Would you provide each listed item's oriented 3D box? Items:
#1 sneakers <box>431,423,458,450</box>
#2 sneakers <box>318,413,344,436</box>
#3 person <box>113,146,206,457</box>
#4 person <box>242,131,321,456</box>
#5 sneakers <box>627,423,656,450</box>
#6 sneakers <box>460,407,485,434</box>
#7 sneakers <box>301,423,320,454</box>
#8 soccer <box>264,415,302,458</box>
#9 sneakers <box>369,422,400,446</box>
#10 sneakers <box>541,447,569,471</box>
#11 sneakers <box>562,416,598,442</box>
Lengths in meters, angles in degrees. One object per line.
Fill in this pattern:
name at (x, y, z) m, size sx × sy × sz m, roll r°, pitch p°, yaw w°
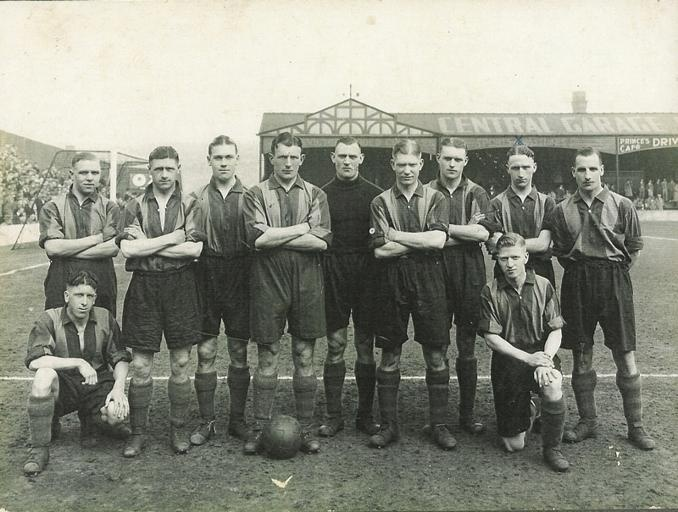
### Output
sneakers at (0.757, 1.313, 5.954) m, size 0.099 × 0.097 × 0.246 m, roll -4°, pitch 0°, yaw -25°
sneakers at (-0.052, 1.282, 6.126) m, size 0.085 × 0.166 × 0.251 m, roll -21°, pitch -26°, yaw 35°
person at (-1.288, 0.301, 5.939) m, size 0.629 × 2.212 × 0.432 m, roll -3°, pitch 4°, yaw -11°
person at (-0.378, 0.210, 5.961) m, size 0.664 × 2.217 × 0.364 m, roll -2°, pitch 4°, yaw -2°
sneakers at (2.225, 1.314, 5.961) m, size 0.177 × 0.160 × 0.211 m, roll -3°, pitch 5°, yaw -9°
sneakers at (0.989, 1.256, 6.147) m, size 0.213 × 0.208 × 0.132 m, roll 4°, pitch -11°, yaw -8°
sneakers at (-0.206, 1.312, 5.887) m, size 0.132 × 0.194 × 0.228 m, roll -3°, pitch 5°, yaw -4°
soccer at (-0.394, 1.264, 5.704) m, size 0.278 × 0.315 × 0.277 m, roll 0°, pitch -11°, yaw 5°
sneakers at (0.345, 1.311, 5.961) m, size 0.123 × 0.140 × 0.262 m, roll 2°, pitch 6°, yaw 41°
sneakers at (1.506, 1.415, 5.684) m, size 0.088 × 0.092 × 0.216 m, roll -7°, pitch 6°, yaw -14°
sneakers at (1.799, 1.288, 6.065) m, size 0.347 × 0.153 × 0.118 m, roll -1°, pitch -2°, yaw -30°
